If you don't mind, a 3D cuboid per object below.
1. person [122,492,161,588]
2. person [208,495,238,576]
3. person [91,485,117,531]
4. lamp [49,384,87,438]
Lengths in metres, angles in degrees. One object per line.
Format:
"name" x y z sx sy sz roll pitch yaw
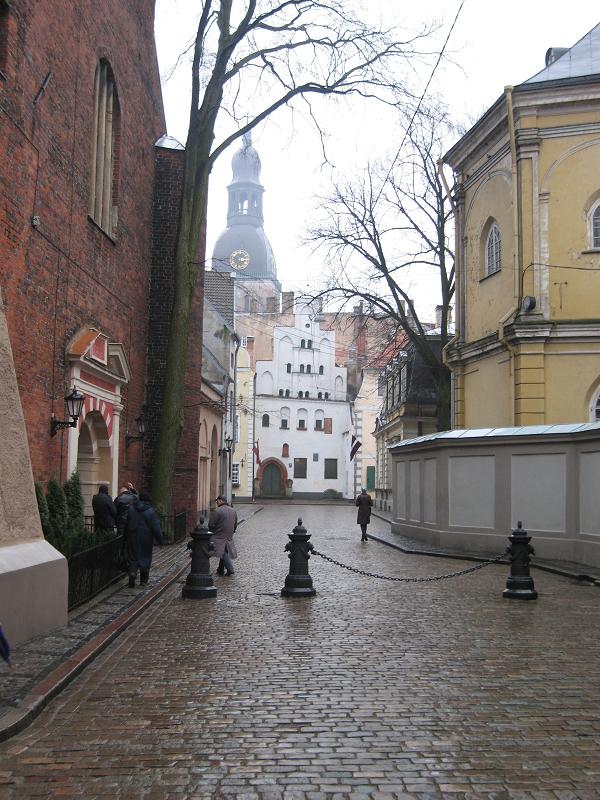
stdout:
"person" -2.548 2.274 11.863 0.483 1.457 0.708 4 -8 -27
"person" -1.515 2.640 14.308 0.526 1.506 2.363 1 -8 -6
"person" -3.917 2.181 14.725 0.458 0.949 0.504 2 -7 -15
"lamp" -4.095 0.171 12.992 0.550 0.930 0.304 0 0 -31
